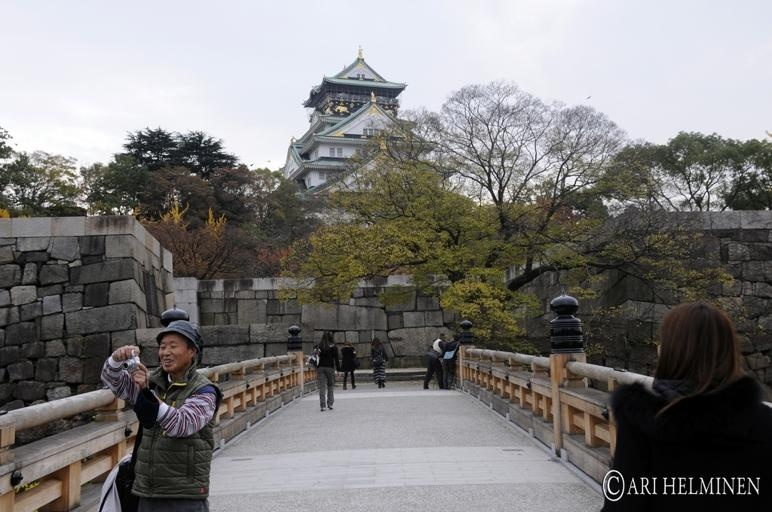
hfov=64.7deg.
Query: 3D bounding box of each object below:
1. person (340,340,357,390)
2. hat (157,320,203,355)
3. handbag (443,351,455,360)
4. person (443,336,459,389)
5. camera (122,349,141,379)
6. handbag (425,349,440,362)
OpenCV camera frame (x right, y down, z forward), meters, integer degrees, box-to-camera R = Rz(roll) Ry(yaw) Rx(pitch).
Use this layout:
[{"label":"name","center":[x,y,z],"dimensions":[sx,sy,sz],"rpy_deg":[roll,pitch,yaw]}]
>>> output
[{"label":"person","center":[-1.111,3.248,18.049],"dimensions":[0.421,1.399,1.107],"rpy_deg":[-1,-6,-4]},{"label":"hat","center":[-1.360,0.519,4.099],"dimensions":[0.302,0.152,0.246],"rpy_deg":[16,-12,-8]},{"label":"handbag","center":[1.632,2.609,16.015],"dimensions":[0.363,0.225,0.207],"rpy_deg":[-5,-7,27]},{"label":"person","center":[1.715,2.890,16.305],"dimensions":[0.428,1.268,1.008],"rpy_deg":[-2,-6,5]},{"label":"camera","center":[-1.590,0.678,3.815],"dimensions":[0.125,0.128,0.182],"rpy_deg":[4,-6,-7]},{"label":"handbag","center":[1.303,2.719,16.813],"dimensions":[0.440,0.310,0.127],"rpy_deg":[-6,-7,32]}]
